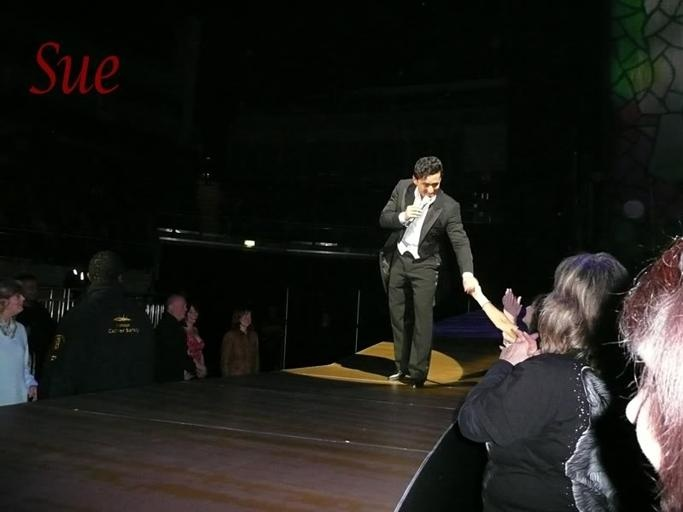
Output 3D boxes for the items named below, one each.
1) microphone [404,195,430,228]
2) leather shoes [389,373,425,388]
[{"bbox_3d":[0.494,-0.295,3.538,0.157,0.200,0.297,3,4,14],"label":"microphone"},{"bbox_3d":[0.427,0.811,3.597,0.084,0.110,0.249,2,2,-43],"label":"leather shoes"}]
